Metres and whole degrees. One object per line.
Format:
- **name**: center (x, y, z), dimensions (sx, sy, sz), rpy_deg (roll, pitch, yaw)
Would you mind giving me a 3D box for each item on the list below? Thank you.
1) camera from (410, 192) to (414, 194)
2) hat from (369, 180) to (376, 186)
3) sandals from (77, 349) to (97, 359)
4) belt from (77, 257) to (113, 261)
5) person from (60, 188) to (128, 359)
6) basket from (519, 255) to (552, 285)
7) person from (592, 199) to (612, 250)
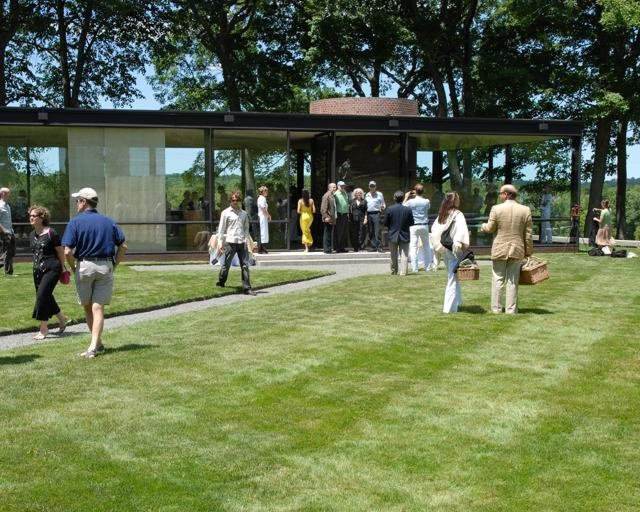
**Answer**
- **camera**: center (2.421, -1.684, 21.239), dimensions (0.069, 0.025, 0.073), rpy_deg (4, 3, 29)
- **hat**: center (1.440, -2.023, 22.224), dimensions (0.198, 0.113, 0.322), rpy_deg (1, 4, 4)
- **sandals**: center (-3.090, 1.304, 10.761), dimensions (0.216, 0.117, 0.101), rpy_deg (3, 1, -4)
- **belt**: center (-2.942, 0.037, 10.652), dimensions (0.417, 0.059, 0.100), rpy_deg (-3, 8, -24)
- **person**: center (-3.000, 0.218, 10.829), dimensions (0.812, 2.224, 0.490), rpy_deg (-2, 7, -21)
- **basket**: center (3.524, 0.286, 13.491), dimensions (0.461, 0.505, 0.454), rpy_deg (-7, 1, -37)
- **person**: center (8.584, -0.955, 24.534), dimensions (0.597, 1.586, 1.778), rpy_deg (2, 8, 19)
